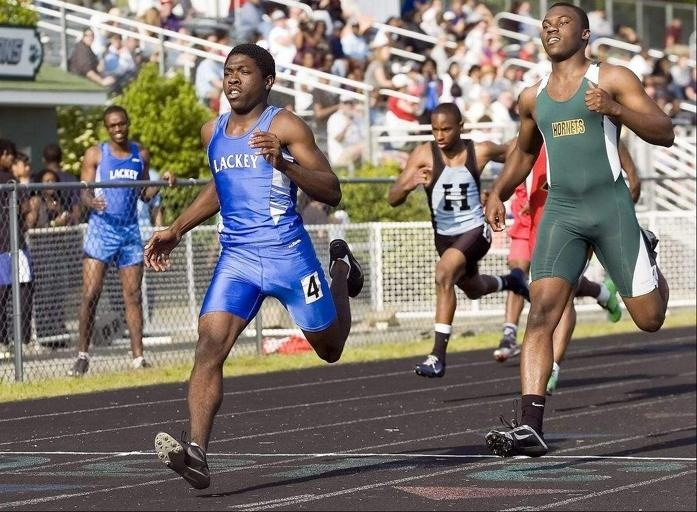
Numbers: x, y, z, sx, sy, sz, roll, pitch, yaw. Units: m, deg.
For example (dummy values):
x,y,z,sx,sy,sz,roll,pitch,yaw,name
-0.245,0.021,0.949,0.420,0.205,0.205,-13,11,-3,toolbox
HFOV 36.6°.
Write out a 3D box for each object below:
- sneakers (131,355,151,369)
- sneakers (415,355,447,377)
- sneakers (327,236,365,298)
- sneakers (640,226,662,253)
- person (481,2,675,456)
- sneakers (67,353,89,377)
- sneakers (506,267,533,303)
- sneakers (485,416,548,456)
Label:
x,y,z,sx,sy,sz,roll,pitch,yaw,name
-2.240,1.133,11.259,0.100,0.134,0.196,-1,-18,3,sneakers
0.754,0.997,9.466,0.140,0.157,0.316,20,0,35,sneakers
-0.037,0.126,8.237,0.229,0.486,0.194,-21,11,15,sneakers
2.760,-0.148,9.568,0.120,0.306,0.237,-29,0,20,sneakers
1.550,-0.189,6.840,0.998,2.878,0.972,3,9,17,person
-2.787,1.111,10.860,0.236,0.264,0.185,-4,10,-26,sneakers
1.788,0.292,10.990,0.226,0.294,0.675,-6,-21,18,sneakers
1.105,1.179,6.818,0.403,0.207,0.199,7,39,-40,sneakers
